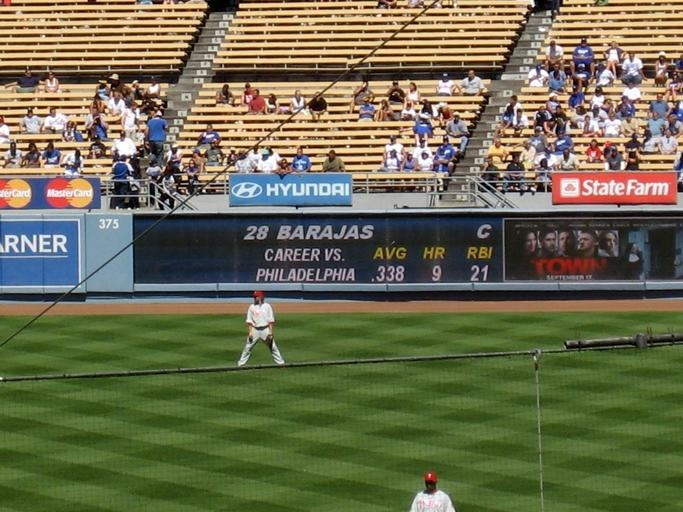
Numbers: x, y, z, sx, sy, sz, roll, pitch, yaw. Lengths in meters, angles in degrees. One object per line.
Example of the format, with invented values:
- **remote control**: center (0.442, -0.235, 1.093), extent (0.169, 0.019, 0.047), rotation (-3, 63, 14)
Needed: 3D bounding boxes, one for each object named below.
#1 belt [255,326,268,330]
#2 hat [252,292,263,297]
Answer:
- **belt**: center (-2.432, 2.021, 56.523), extent (0.347, 0.138, 0.028), rotation (1, 4, -1)
- **hat**: center (-2.511, 1.084, 56.605), extent (0.302, 0.081, 0.273), rotation (1, 3, 10)
